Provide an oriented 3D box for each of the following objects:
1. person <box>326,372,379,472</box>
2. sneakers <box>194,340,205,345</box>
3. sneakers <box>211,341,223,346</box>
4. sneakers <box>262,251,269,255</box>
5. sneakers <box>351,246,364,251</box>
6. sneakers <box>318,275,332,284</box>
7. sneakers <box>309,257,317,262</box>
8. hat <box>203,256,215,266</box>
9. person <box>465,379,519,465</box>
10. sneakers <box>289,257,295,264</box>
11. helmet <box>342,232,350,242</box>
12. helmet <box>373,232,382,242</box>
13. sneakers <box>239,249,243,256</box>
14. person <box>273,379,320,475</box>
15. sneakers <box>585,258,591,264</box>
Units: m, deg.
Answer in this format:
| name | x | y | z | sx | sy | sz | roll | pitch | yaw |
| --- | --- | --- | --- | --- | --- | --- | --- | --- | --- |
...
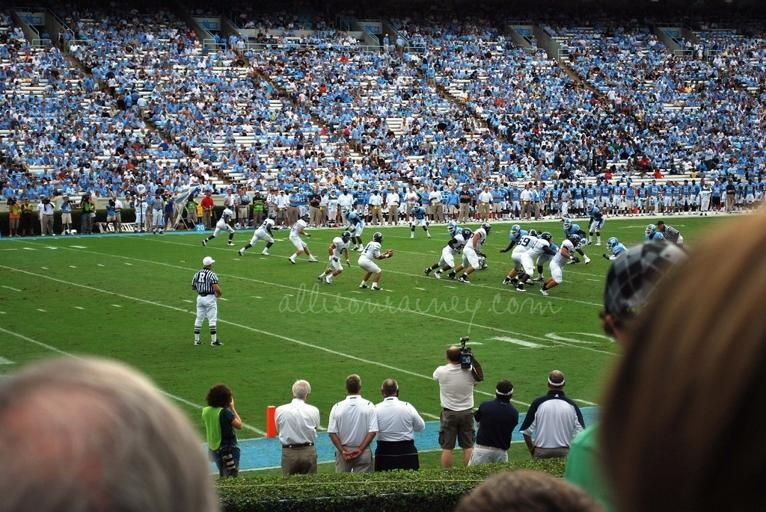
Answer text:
| name | x | y | z | sx | sy | sz | roll | pitch | yaw |
| --- | --- | --- | --- | --- | --- | --- | --- | --- | --- |
| person | -0.293 | 1.723 | 10.510 | 0.500 | 0.948 | 0.592 | 5 | 1 | -2 |
| sneakers | -3.185 | 1.506 | 17.744 | 0.055 | 0.064 | 0.150 | -3 | -1 | -39 |
| sneakers | -2.846 | 1.512 | 17.784 | 0.235 | 0.092 | 0.074 | -1 | 24 | 15 |
| sneakers | -3.554 | -0.064 | 31.187 | 0.197 | 0.065 | 0.130 | -4 | -2 | -16 |
| sneakers | -0.719 | -0.202 | 29.349 | 0.179 | 0.205 | 0.510 | -3 | 8 | -29 |
| sneakers | -1.381 | 0.578 | 25.010 | 0.178 | 0.129 | 0.400 | -10 | 4 | -15 |
| sneakers | -1.978 | 0.098 | 29.264 | 0.253 | 0.087 | 0.162 | -4 | -33 | -5 |
| hat | -3.531 | 0.114 | 20.869 | 0.176 | 0.110 | 0.218 | 4 | 32 | 19 |
| person | 1.139 | 1.702 | 10.371 | 0.426 | 0.856 | 0.535 | 5 | 1 | 6 |
| sneakers | -2.559 | 0.138 | 29.069 | 0.198 | 0.136 | 0.069 | 37 | 11 | -25 |
| helmet | -0.877 | -0.445 | 24.772 | 0.169 | 0.238 | 0.405 | 5 | 1 | -3 |
| helmet | -0.109 | -0.439 | 24.339 | 0.190 | 0.208 | 0.201 | 4 | -1 | 0 |
| sneakers | -4.235 | -0.085 | 30.647 | 0.120 | 0.094 | 0.294 | 0 | -24 | 2 |
| person | -0.874 | 1.764 | 10.501 | 0.461 | 0.902 | 0.365 | 5 | 1 | -3 |
| sneakers | 5.916 | 0.151 | 29.649 | 0.081 | 0.160 | 0.230 | -13 | -18 | -3 |
